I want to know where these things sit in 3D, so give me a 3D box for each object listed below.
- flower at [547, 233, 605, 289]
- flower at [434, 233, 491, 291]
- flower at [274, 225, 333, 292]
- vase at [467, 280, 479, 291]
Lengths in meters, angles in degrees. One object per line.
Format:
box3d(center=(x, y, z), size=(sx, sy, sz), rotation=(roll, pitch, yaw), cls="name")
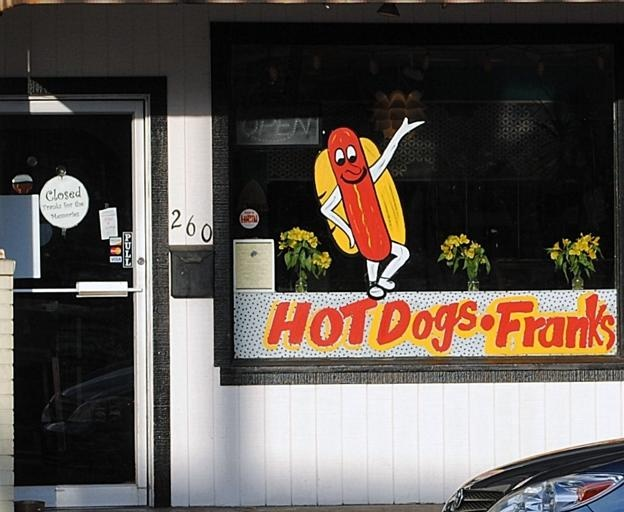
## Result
box3d(center=(2.408, 0.011, 15.510), size=(0.378, 0.472, 0.475), rotation=(13, 8, -21), cls="flower")
box3d(center=(1.347, 0.096, 15.499), size=(0.465, 0.500, 0.467), rotation=(7, -12, -34), cls="flower")
box3d(center=(-0.071, 0.062, 15.489), size=(0.548, 0.638, 0.496), rotation=(7, -8, -37), cls="flower")
box3d(center=(1.434, 0.260, 15.345), size=(0.088, 0.098, 0.095), rotation=(0, -2, 15), cls="vase")
